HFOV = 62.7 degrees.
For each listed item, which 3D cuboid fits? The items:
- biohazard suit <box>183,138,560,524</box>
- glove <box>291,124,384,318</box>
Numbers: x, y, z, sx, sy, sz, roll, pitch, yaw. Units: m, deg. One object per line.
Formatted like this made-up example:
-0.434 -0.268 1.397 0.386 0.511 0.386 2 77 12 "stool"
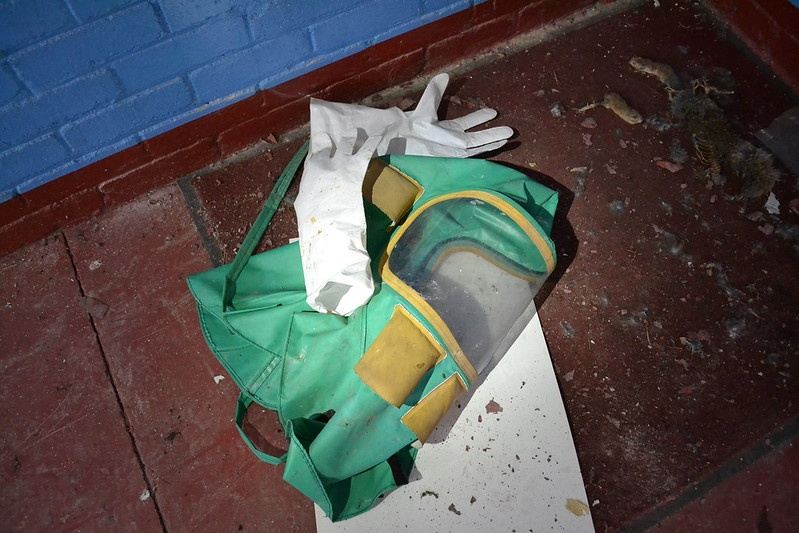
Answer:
-0.375 0.267 2.416 0.365 1.132 1.152 -16 70 -55 "biohazard suit"
-0.242 -0.159 2.563 0.356 0.224 0.632 -10 79 0 "glove"
